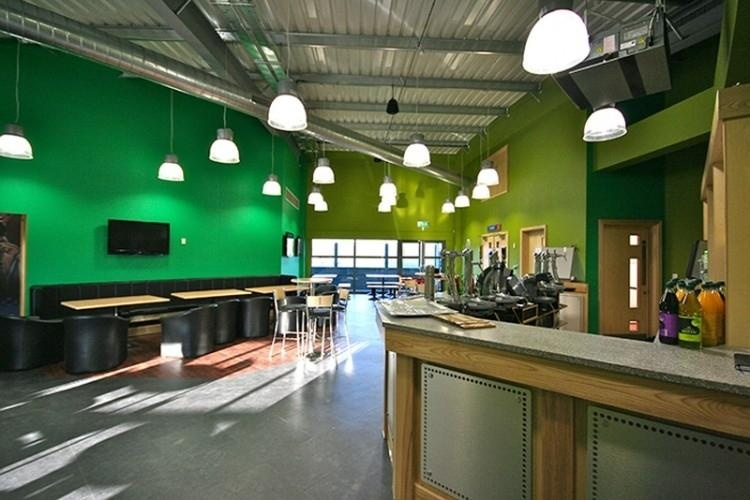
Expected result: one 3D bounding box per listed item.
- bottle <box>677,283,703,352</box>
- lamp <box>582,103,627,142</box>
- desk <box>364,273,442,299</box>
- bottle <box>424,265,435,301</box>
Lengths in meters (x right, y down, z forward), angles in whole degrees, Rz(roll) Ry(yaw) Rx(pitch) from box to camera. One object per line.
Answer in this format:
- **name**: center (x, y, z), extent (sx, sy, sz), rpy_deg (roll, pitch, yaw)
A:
- **bottle**: center (3.210, 0.642, 5.317), extent (0.302, 0.672, 0.175), rpy_deg (0, -3, -29)
- **lamp**: center (3.103, -1.578, 7.165), extent (0.553, 0.520, 0.557), rpy_deg (-5, -7, 43)
- **desk**: center (0.466, 1.098, 15.990), extent (1.510, 0.775, 5.567), rpy_deg (-2, -3, -1)
- **bottle**: center (0.713, 0.441, 6.918), extent (0.136, 0.456, 0.305), rpy_deg (-2, -3, 6)
